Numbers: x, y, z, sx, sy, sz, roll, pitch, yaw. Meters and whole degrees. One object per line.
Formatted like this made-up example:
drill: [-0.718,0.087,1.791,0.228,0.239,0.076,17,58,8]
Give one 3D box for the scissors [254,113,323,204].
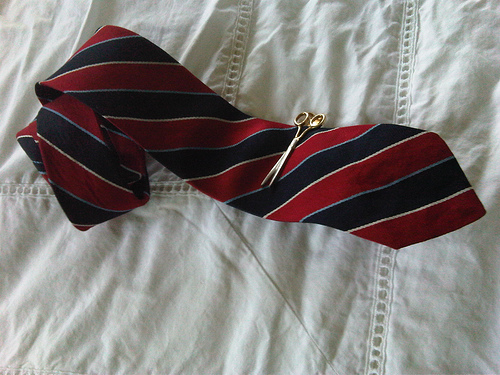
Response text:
scissors: [0.073,-0.074,1.100,0.064,0.023,0.200,10,61,38]
